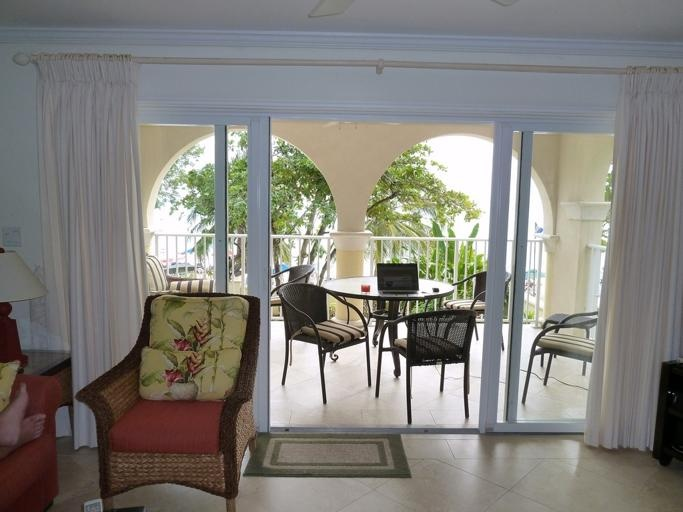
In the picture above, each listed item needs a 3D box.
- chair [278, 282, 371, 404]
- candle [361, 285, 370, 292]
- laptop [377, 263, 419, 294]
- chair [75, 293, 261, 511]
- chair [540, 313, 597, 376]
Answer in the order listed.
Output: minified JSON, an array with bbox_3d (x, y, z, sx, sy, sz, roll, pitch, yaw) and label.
[{"bbox_3d":[-0.161,0.687,4.476,0.682,0.870,0.693,4,5,36],"label":"chair"},{"bbox_3d":[0.226,0.295,4.665,0.053,0.039,0.054,-1,-1,35],"label":"candle"},{"bbox_3d":[0.514,0.208,4.692,0.350,0.270,0.242,1,-3,-2],"label":"laptop"},{"bbox_3d":[-0.996,0.834,3.144,0.928,1.037,0.863,0,13,-1],"label":"chair"},{"bbox_3d":[1.644,0.599,3.859,0.278,0.385,0.242,13,11,7],"label":"chair"}]
